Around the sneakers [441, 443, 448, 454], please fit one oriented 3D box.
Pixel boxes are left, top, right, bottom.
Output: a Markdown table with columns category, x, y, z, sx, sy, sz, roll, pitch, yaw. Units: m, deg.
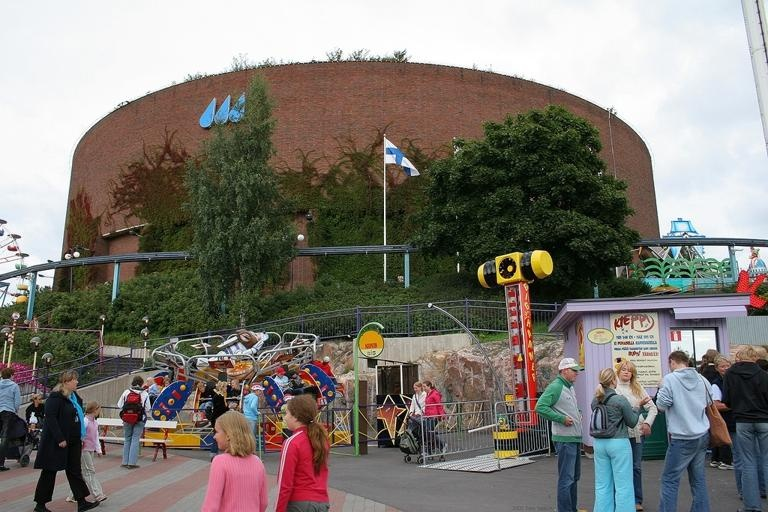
| category | x | y | z | sx | sy | sz | roll | pitch | yaw |
| --- | --- | --- | --- | --- | --- | --- | --- | --- | --- |
| sneakers | 1.634 | 5.359 | 18.404 | 0.161 | 0.207 | 0.491 | -6 | -53 | 3 |

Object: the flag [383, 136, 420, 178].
| category | x | y | z | sx | sy | sz | roll | pitch | yaw |
| --- | --- | --- | --- | --- | --- | --- | --- | --- | --- |
| flag | 1.017 | -6.326 | 43.729 | 2.942 | 3.027 | 0.407 | 9 | -21 | -11 |

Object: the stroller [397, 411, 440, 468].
| category | x | y | z | sx | sy | sz | roll | pitch | yaw |
| --- | --- | --- | --- | --- | --- | --- | --- | --- | --- |
| stroller | 0.776 | 5.081 | 18.347 | 1.366 | 1.369 | 1.003 | 19 | -29 | -34 |

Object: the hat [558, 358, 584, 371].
| category | x | y | z | sx | sy | sz | roll | pitch | yaw |
| --- | --- | --- | --- | --- | --- | --- | --- | --- | --- |
| hat | 3.396 | 2.063 | 12.470 | 0.391 | 0.214 | 0.295 | -7 | -12 | 30 |

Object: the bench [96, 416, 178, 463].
| category | x | y | z | sx | sy | sz | roll | pitch | yaw |
| --- | --- | --- | --- | --- | --- | --- | --- | --- | --- |
| bench | -7.403 | 5.477 | 20.247 | 1.149 | 1.394 | 3.199 | -12 | -19 | 6 |

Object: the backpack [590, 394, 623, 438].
| category | x | y | z | sx | sy | sz | roll | pitch | yaw |
| --- | --- | --- | --- | --- | --- | --- | --- | --- | --- |
| backpack | 3.843 | 2.795 | 11.665 | 0.406 | 0.740 | 0.484 | 23 | -29 | -38 |

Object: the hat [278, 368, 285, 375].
| category | x | y | z | sx | sy | sz | roll | pitch | yaw |
| --- | --- | --- | --- | --- | --- | --- | --- | --- | --- |
| hat | -3.208 | 3.595 | 20.783 | 0.230 | 0.117 | 0.171 | -11 | -12 | 39 |

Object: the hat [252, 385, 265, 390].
| category | x | y | z | sx | sy | sz | roll | pitch | yaw |
| --- | --- | --- | --- | --- | --- | --- | --- | --- | --- |
| hat | -3.427 | 3.605 | 18.235 | 0.265 | 0.101 | 0.192 | -2 | -4 | 5 |

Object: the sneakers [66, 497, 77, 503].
| category | x | y | z | sx | sy | sz | roll | pitch | yaw |
| --- | --- | --- | --- | --- | --- | --- | --- | --- | --- |
| sneakers | -6.459 | 5.067 | 13.955 | 0.298 | 0.121 | 0.125 | -11 | -14 | 38 |
